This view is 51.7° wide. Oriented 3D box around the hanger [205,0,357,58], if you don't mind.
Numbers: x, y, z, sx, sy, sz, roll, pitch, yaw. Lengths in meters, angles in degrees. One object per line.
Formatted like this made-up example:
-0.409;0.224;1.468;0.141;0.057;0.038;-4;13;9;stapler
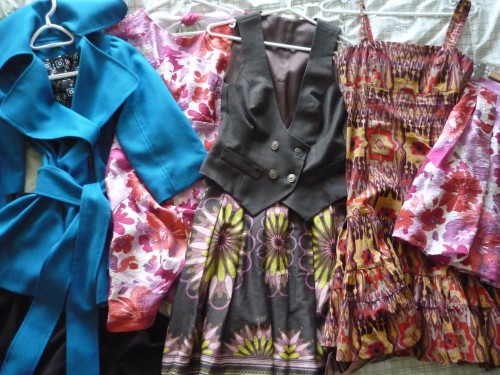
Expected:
0.112;-0.604;1.949;0.560;0.145;0.249;2;54;12;hanger
